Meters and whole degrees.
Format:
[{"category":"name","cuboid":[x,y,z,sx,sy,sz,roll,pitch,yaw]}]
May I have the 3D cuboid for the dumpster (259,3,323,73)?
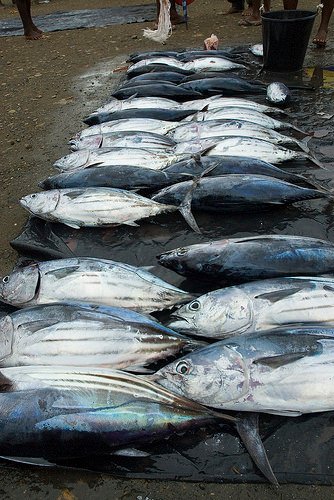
[{"category":"dumpster","cuboid":[1.219,-2.109,5.024,0.525,0.631,0.597,7,34,12]}]
